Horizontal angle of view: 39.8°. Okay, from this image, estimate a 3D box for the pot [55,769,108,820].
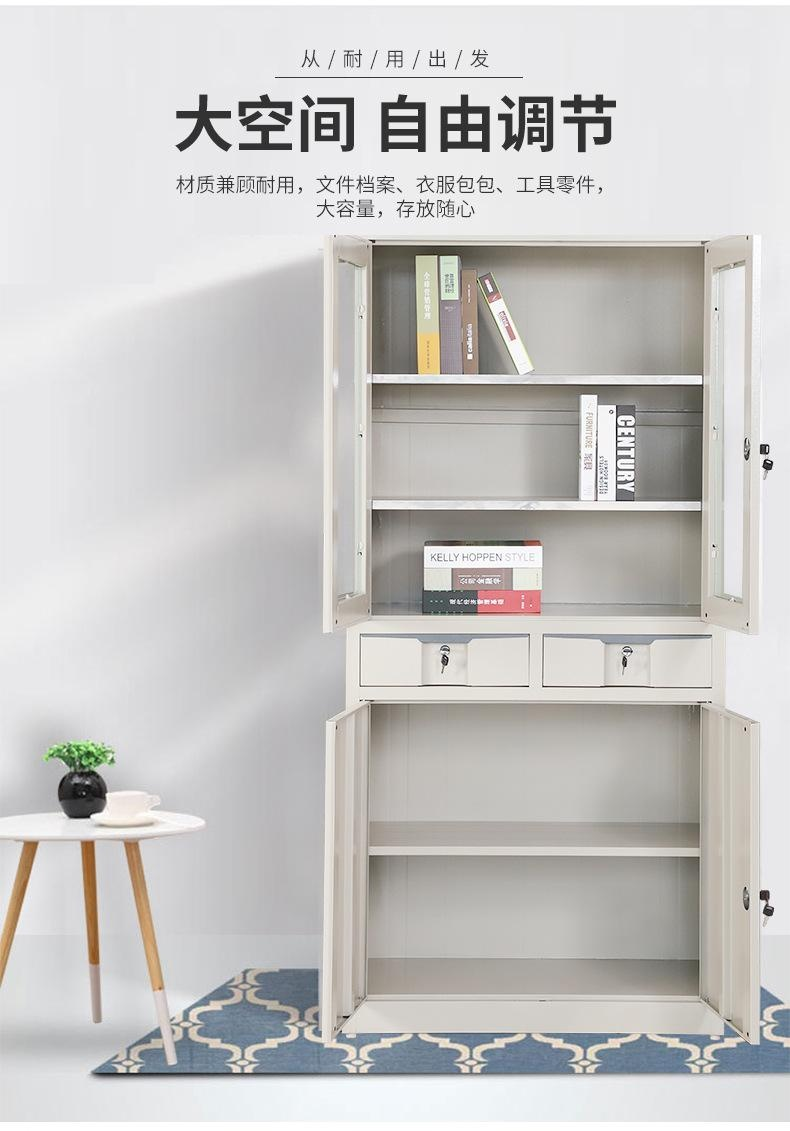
[{"bbox_3d":[-0.740,0.533,2.564,0.104,0.109,0.109,2,-97,-14],"label":"pot"}]
